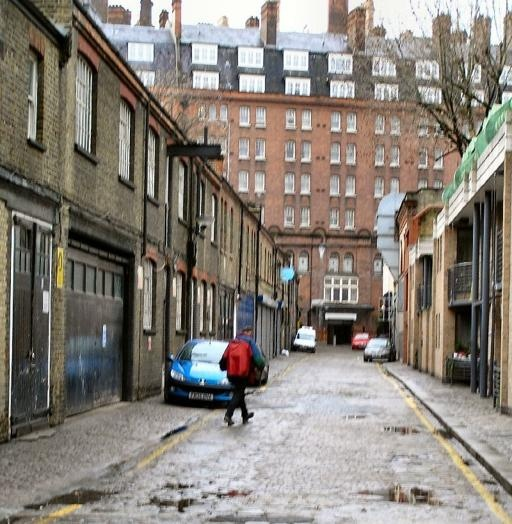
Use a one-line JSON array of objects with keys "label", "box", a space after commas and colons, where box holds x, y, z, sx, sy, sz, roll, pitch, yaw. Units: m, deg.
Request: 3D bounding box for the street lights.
[{"label": "street lights", "box": [-1.713, 0.292, 24.491, 0.495, 3.657, 0.635, 5, -25, -10]}]

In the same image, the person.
[{"label": "person", "box": [-0.254, 2.053, 15.588, 0.906, 1.341, 1.123, -5, -4, -17]}]
